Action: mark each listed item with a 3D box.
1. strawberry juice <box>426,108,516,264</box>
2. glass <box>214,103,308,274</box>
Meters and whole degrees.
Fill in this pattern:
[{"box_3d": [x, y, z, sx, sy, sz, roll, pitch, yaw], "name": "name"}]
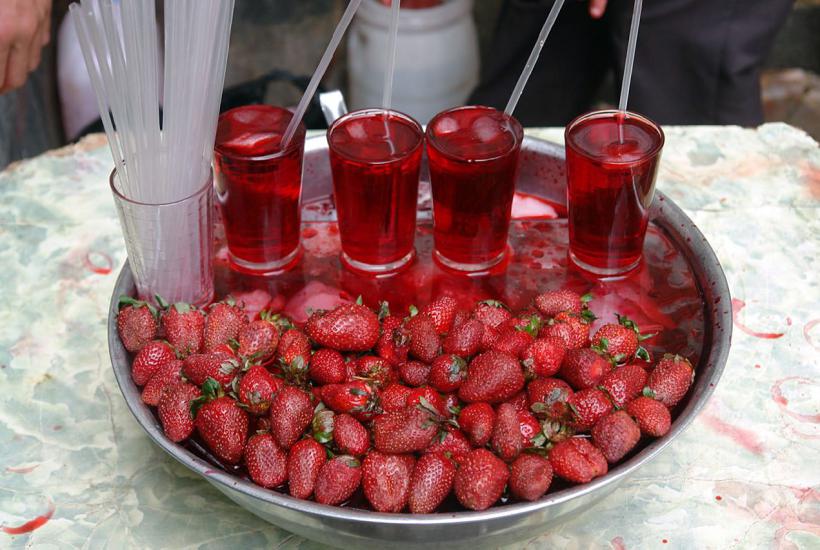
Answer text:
[{"box_3d": [0.117, -0.157, 1.400, 0.187, 0.280, 0.183, 5, 42, 8], "name": "strawberry juice"}, {"box_3d": [-0.283, -0.137, 1.391, 0.166, 0.244, 0.162, 7, 28, 8], "name": "glass"}]
